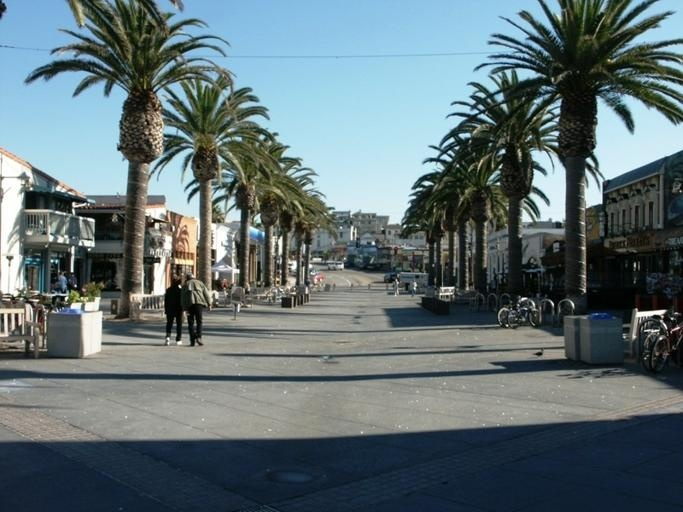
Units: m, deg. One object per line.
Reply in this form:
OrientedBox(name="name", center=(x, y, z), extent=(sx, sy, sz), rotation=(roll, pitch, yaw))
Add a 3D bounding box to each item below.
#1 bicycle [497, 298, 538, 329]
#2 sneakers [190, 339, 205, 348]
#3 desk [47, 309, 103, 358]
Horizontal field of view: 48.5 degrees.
OrientedBox(name="bicycle", center=(6.087, 2.027, 26.458), extent=(1.749, 1.022, 0.691), rotation=(-4, 4, -38))
OrientedBox(name="sneakers", center=(-3.777, 2.230, 19.605), extent=(0.399, 0.179, 0.141), rotation=(-2, 1, 15))
OrientedBox(name="desk", center=(-5.908, 1.672, 16.823), extent=(0.818, 1.198, 1.611), rotation=(0, -1, 4))
